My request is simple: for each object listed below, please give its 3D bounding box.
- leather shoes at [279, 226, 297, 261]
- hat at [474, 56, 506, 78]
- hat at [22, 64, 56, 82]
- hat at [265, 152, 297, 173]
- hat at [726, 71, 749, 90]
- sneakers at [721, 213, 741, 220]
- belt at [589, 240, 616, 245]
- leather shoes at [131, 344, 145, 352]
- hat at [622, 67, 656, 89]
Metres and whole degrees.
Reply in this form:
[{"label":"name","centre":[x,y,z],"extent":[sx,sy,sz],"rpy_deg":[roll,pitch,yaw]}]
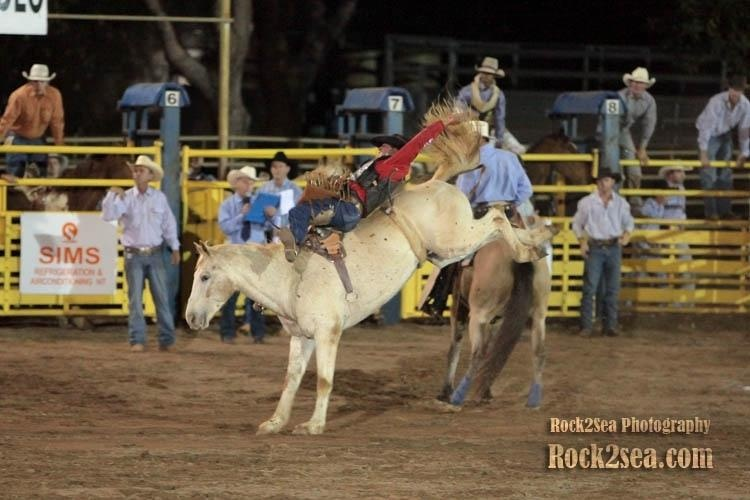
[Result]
[{"label":"leather shoes","centre":[-1.236,-0.085,25.105],"extent":[0.247,0.450,0.308],"rpy_deg":[-14,6,-39]},{"label":"hat","centre":[2.048,-3.223,30.064],"extent":[0.522,0.223,0.617],"rpy_deg":[9,0,4]},{"label":"hat","centre":[-6.349,-3.275,31.402],"extent":[0.423,0.313,0.508],"rpy_deg":[1,3,-2]},{"label":"hat","centre":[-1.761,-1.573,30.297],"extent":[0.516,0.190,0.550],"rpy_deg":[1,-9,5]},{"label":"hat","centre":[6.810,-3.137,31.647],"extent":[0.459,0.433,0.524],"rpy_deg":[0,2,11]},{"label":"sneakers","centre":[6.834,-0.627,32.120],"extent":[0.434,0.137,0.116],"rpy_deg":[-3,8,-14]},{"label":"belt","centre":[4.048,-0.130,30.011],"extent":[0.533,0.145,0.108],"rpy_deg":[1,2,4]},{"label":"leather shoes","centre":[-4.116,1.665,28.787],"extent":[0.215,0.125,0.176],"rpy_deg":[1,3,-7]},{"label":"hat","centre":[4.963,-3.334,31.838],"extent":[0.618,0.252,0.623],"rpy_deg":[4,-10,7]}]
